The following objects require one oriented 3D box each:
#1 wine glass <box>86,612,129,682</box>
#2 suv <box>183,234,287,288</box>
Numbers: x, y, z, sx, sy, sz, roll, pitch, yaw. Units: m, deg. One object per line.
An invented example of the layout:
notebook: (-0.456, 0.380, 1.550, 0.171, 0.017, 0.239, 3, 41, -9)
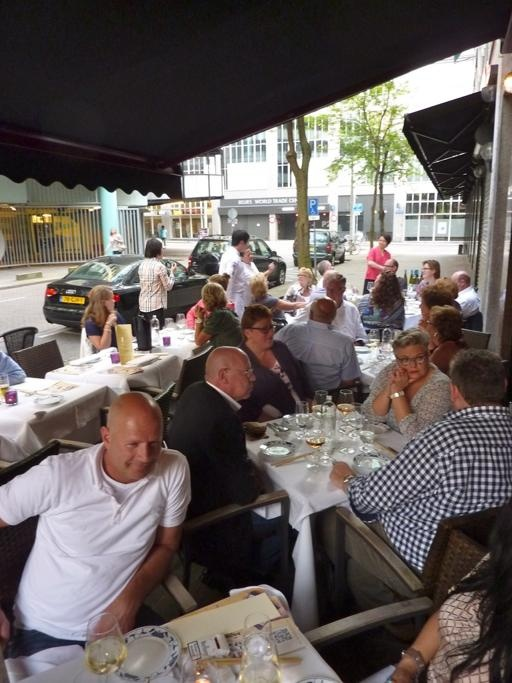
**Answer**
wine glass: (-0.437, 0.878, 1.454, 0.111, 0.113, 0.163, -8, 11, -19)
suv: (-0.796, -2.579, 18.272, 3.618, 1.839, 2.272, -19, 26, -40)
